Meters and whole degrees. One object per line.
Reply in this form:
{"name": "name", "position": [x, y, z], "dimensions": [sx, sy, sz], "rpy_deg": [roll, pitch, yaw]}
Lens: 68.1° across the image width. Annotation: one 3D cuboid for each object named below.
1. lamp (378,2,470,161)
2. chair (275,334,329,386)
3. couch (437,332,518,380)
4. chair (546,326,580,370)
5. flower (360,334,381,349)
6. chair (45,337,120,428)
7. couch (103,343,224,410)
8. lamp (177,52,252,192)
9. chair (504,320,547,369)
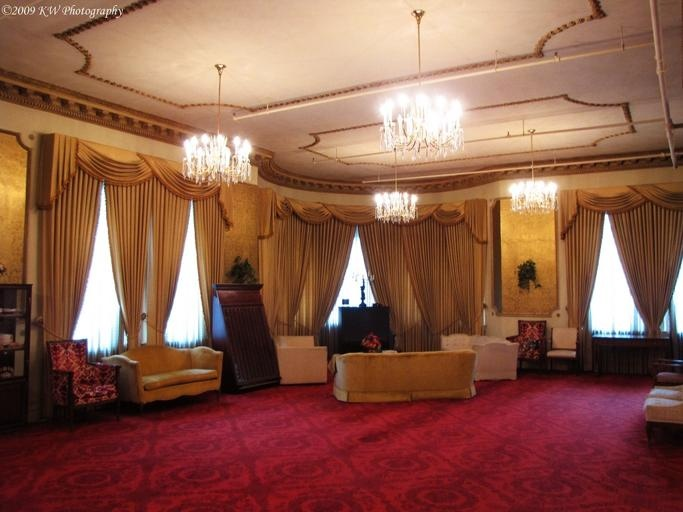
{"name": "lamp", "position": [1.152, -2.394, 6.998], "dimensions": [0.995, 1.849, 0.999], "rpy_deg": [-18, 17, -35]}
{"name": "chair", "position": [-0.867, 2.203, 10.741], "dimensions": [1.041, 0.849, 1.006], "rpy_deg": [0, 1, -8]}
{"name": "couch", "position": [2.996, 2.483, 11.314], "dimensions": [1.763, 0.790, 1.708], "rpy_deg": [-13, -20, 16]}
{"name": "chair", "position": [4.980, 2.132, 11.423], "dimensions": [0.810, 1.029, 0.885], "rpy_deg": [0, -5, 7]}
{"name": "flower", "position": [0.601, 1.718, 9.965], "dimensions": [0.294, 0.368, 0.642], "rpy_deg": [0, 1, 9]}
{"name": "chair", "position": [-3.873, 1.845, 7.582], "dimensions": [0.742, 1.149, 0.841], "rpy_deg": [-5, -7, 23]}
{"name": "couch", "position": [-2.960, 1.963, 8.540], "dimensions": [0.831, 0.822, 1.768], "rpy_deg": [1, 1, 43]}
{"name": "lamp", "position": [-1.785, -1.986, 7.553], "dimensions": [0.885, 1.596, 0.892], "rpy_deg": [-5, 22, -25]}
{"name": "chair", "position": [4.380, 2.103, 11.744], "dimensions": [0.859, 1.228, 0.838], "rpy_deg": [-4, -10, 41]}
